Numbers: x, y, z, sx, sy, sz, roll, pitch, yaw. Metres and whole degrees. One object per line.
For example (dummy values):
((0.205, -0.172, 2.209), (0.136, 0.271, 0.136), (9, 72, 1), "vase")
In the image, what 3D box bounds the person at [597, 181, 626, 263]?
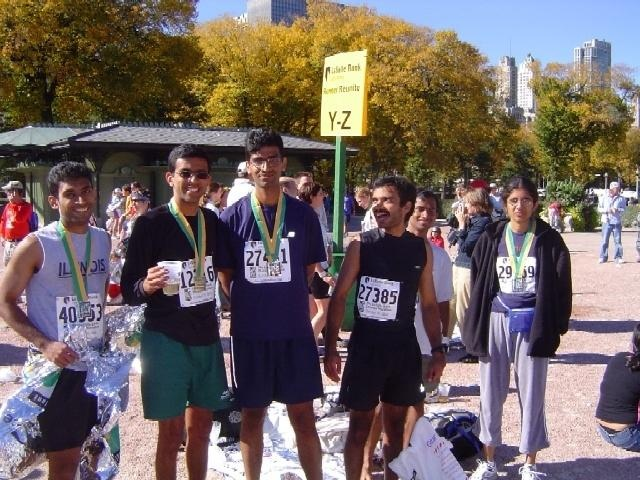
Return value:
((7.708, -0.458, 17.064), (0.577, 2.122, 1.163), (2, 4, 25), "person")

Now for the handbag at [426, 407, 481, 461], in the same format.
((1.260, 1.740, 6.085), (0.420, 0.243, 0.624), (6, 5, 34), "handbag")

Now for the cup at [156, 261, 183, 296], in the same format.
((-1.064, 0.278, 4.607), (0.188, 0.240, 0.181), (-4, -1, 0), "cup")

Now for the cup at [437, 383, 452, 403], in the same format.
((1.353, 1.682, 7.054), (0.131, 0.143, 0.236), (2, 0, 9), "cup")

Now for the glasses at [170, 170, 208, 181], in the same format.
((-0.950, -0.489, 4.837), (0.223, 0.070, 0.079), (-1, 4, -16), "glasses")

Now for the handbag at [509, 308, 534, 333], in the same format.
((1.677, 0.668, 5.374), (0.196, 0.230, 0.155), (2, -7, 22), "handbag")
